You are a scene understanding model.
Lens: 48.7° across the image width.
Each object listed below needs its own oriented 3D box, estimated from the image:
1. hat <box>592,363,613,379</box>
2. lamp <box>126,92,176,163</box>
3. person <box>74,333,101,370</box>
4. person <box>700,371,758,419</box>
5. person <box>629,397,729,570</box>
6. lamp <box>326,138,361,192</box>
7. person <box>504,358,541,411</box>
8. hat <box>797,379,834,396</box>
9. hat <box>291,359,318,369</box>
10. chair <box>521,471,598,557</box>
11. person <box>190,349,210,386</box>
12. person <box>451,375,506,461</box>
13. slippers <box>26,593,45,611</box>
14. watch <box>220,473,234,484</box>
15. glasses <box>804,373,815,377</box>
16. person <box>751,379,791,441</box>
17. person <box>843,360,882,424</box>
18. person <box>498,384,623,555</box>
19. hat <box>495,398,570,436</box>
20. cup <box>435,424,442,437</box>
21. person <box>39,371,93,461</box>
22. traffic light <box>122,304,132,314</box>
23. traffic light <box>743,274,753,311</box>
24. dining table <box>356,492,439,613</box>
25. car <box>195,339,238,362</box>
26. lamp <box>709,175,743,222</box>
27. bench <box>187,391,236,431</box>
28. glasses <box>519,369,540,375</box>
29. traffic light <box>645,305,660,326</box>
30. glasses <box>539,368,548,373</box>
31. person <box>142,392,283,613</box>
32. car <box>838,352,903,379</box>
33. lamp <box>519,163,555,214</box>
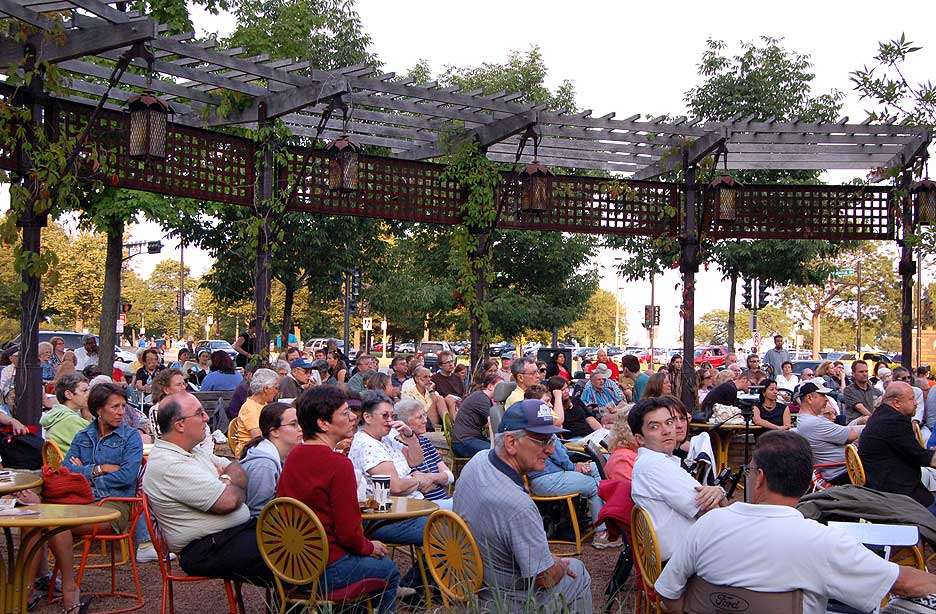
[{"bbox_3d":[2.056,1.004,16.003,0.334,0.181,0.396,3,2,12],"label":"hat"},{"bbox_3d":[-4.376,-2.381,13.837,0.737,0.983,0.743,1,1,21],"label":"lamp"},{"bbox_3d":[-6.934,0.821,18.852,0.359,0.452,0.913,5,-4,-22],"label":"person"},{"bbox_3d":[3.825,1.349,15.473,0.742,0.788,0.566,3,-2,-2],"label":"person"},{"bbox_3d":[1.919,1.598,9.426,0.809,1.562,0.710,-7,5,37],"label":"person"},{"bbox_3d":[-1.828,-2.109,15.281,0.430,0.813,0.353,4,-3,-12],"label":"lamp"},{"bbox_3d":[0.720,1.046,13.609,0.377,0.726,0.806,0,5,20],"label":"person"},{"bbox_3d":[5.172,1.202,15.346,0.579,0.220,0.365,-1,-2,-31],"label":"hat"},{"bbox_3d":[-2.586,0.915,16.440,0.301,0.157,0.221,1,-4,5],"label":"hat"},{"bbox_3d":[1.069,2.459,12.218,0.829,1.359,0.761,-4,0,9],"label":"chair"},{"bbox_3d":[-5.306,1.217,20.538,0.377,0.493,1.141,11,22,-18],"label":"person"},{"bbox_3d":[0.358,1.427,13.767,0.813,1.080,0.827,-6,6,-21],"label":"person"},{"bbox_3d":[-4.149,2.847,9.953,0.050,0.110,0.137,6,-24,-45],"label":"slippers"},{"bbox_3d":[-2.218,1.575,9.494,0.084,0.085,0.070,17,-21,22],"label":"watch"},{"bbox_3d":[6.239,1.264,18.959,0.149,0.047,0.146,-2,-5,44],"label":"glasses"},{"bbox_3d":[4.331,1.506,14.724,0.535,0.952,0.485,16,-24,-33],"label":"person"},{"bbox_3d":[6.223,1.343,16.096,0.573,0.968,0.692,-4,-2,-13],"label":"person"},{"bbox_3d":[1.275,1.961,12.157,1.033,1.684,0.959,-8,-6,40],"label":"person"},{"bbox_3d":[0.516,0.928,8.686,0.389,0.224,0.295,-4,-5,22],"label":"hat"},{"bbox_3d":[-0.453,1.938,16.115,0.107,0.107,0.108,1,-1,0],"label":"cup"},{"bbox_3d":[-4.342,1.161,11.200,0.777,1.146,0.799,0,-2,-24],"label":"person"},{"bbox_3d":[-16.539,0.080,50.163,0.569,0.444,0.532,1,-4,-27],"label":"traffic light"},{"bbox_3d":[8.636,-0.431,31.971,0.278,0.945,1.114,3,-3,13],"label":"traffic light"},{"bbox_3d":[-0.663,2.300,9.813,0.910,0.970,0.856,3,-6,-35],"label":"dining table"},{"bbox_3d":[-7.162,1.238,29.460,0.955,0.858,2.071,1,-8,-23],"label":"car"},{"bbox_3d":[4.267,-1.788,17.190,0.477,0.750,0.579,3,-3,13],"label":"lamp"},{"bbox_3d":[-3.174,1.311,12.878,0.868,0.497,0.320,2,4,22],"label":"bench"},{"bbox_3d":[0.840,0.869,13.587,0.131,0.080,0.338,2,-4,28],"label":"glasses"},{"bbox_3d":[7.116,0.378,39.843,0.726,1.181,0.239,1,-6,-2],"label":"traffic light"},{"bbox_3d":[1.289,1.098,17.767,0.158,0.105,0.208,3,-9,-11],"label":"glasses"},{"bbox_3d":[-2.218,1.919,9.521,1.355,2.226,0.853,-4,0,-17],"label":"person"},{"bbox_3d":[9.790,1.423,25.327,0.989,0.806,1.827,1,-9,-17],"label":"car"},{"bbox_3d":[1.073,-1.901,16.453,0.459,0.806,0.570,3,-3,6],"label":"lamp"}]
